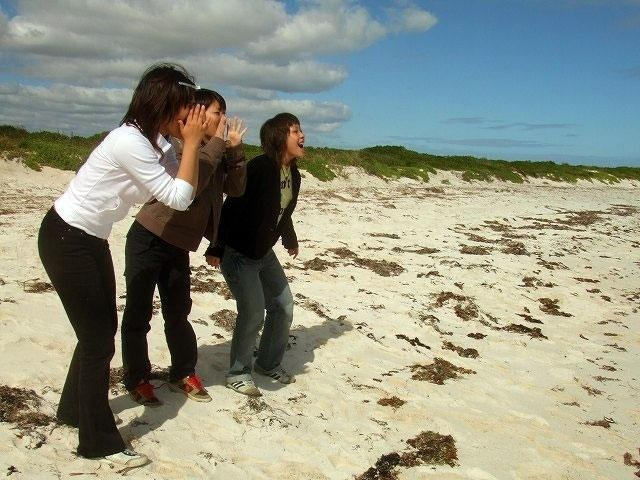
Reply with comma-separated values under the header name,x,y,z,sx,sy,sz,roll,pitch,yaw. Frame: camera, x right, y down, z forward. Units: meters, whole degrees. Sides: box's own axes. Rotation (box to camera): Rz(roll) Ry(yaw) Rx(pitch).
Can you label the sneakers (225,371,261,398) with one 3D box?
name,x,y,z,sx,sy,sz,roll,pitch,yaw
sneakers,-0.768,1.390,4.496,0.377,0.160,0.168,9,-2,20
